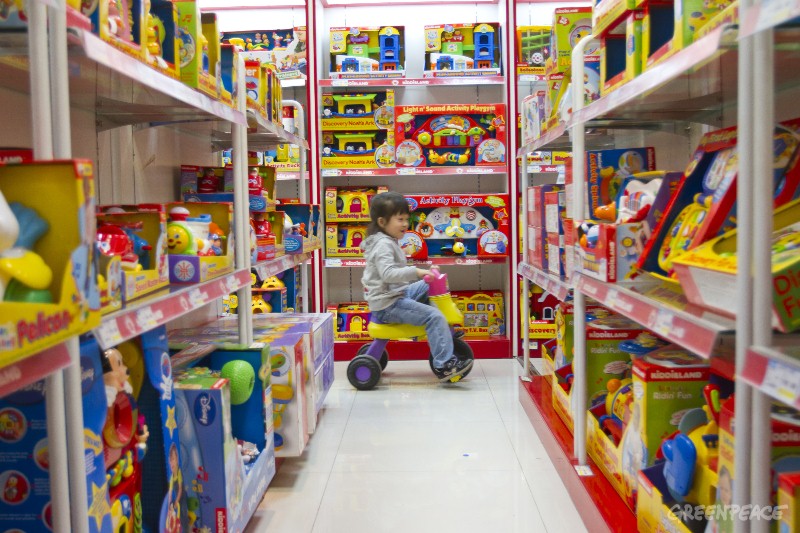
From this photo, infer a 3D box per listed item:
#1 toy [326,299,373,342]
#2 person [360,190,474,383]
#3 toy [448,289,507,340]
[{"bbox_3d":[-0.360,0.375,4.303,0.380,0.290,0.222,0,7,2],"label":"toy"},{"bbox_3d":[0.147,0.101,3.888,0.711,1.114,0.685,-1,4,20],"label":"person"},{"bbox_3d":[0.527,0.346,4.474,0.516,0.456,0.282,-1,-1,1],"label":"toy"}]
